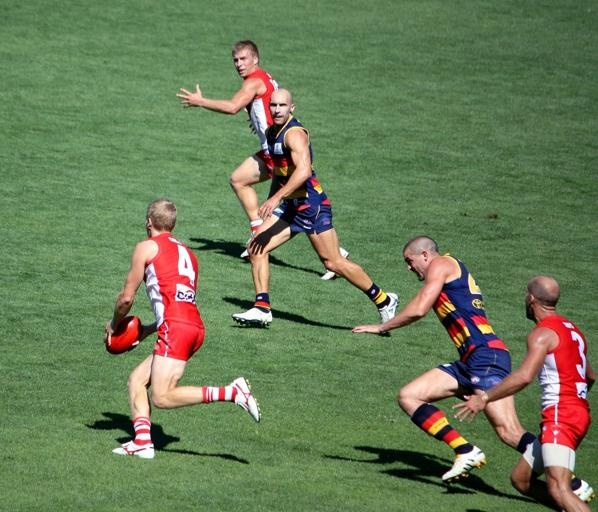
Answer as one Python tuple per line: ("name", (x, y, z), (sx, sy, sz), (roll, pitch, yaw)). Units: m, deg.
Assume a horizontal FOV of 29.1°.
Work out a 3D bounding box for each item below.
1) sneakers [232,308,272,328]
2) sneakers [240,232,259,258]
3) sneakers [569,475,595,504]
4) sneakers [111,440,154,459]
("sneakers", (-0.541, 0.724, 13.141), (0.485, 0.242, 0.184), (5, -11, -12))
("sneakers", (-0.639, -0.120, 14.362), (0.146, 0.212, 0.467), (3, 28, 7))
("sneakers", (2.562, 2.146, 10.607), (0.162, 0.154, 0.310), (-26, 21, -17))
("sneakers", (-1.548, 1.832, 10.869), (0.414, 0.171, 0.150), (5, 0, 4))
